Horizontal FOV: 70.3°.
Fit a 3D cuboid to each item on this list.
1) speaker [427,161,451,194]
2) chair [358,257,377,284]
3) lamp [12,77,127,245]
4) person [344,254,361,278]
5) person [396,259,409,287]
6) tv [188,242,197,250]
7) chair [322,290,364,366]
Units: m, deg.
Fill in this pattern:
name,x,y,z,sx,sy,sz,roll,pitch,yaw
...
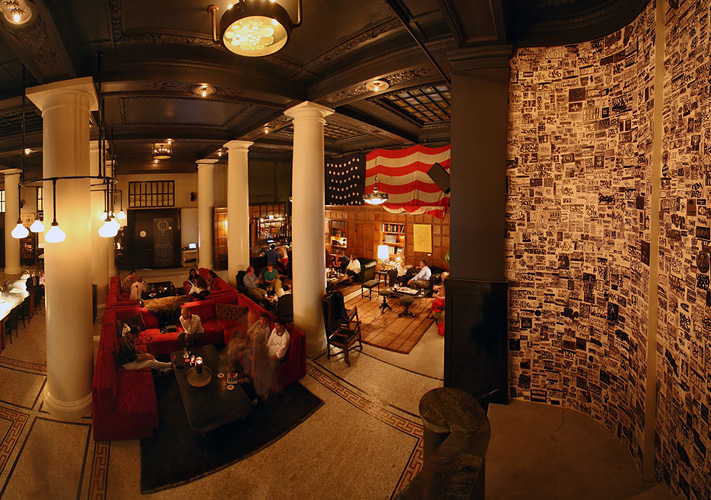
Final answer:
name,x,y,z,sx,sy,sz,roll,pitch,yaw
speaker,1.400,-1.216,8.414,0.309,0.504,0.416,0,3,-2
chair,0.289,0.625,16.037,0.900,0.648,0.530,7,13,29
lamp,-5.004,-1.416,8.562,1.716,2.549,3.165,-2,3,-25
person,-0.103,0.537,15.326,0.444,0.758,1.287,0,3,12
person,1.372,0.685,14.852,0.334,0.521,0.957,4,28,0
tv,-6.221,-0.129,19.334,0.391,0.390,0.209,1,-1,-44
chair,-0.268,1.495,10.087,0.730,1.319,0.878,1,3,30
